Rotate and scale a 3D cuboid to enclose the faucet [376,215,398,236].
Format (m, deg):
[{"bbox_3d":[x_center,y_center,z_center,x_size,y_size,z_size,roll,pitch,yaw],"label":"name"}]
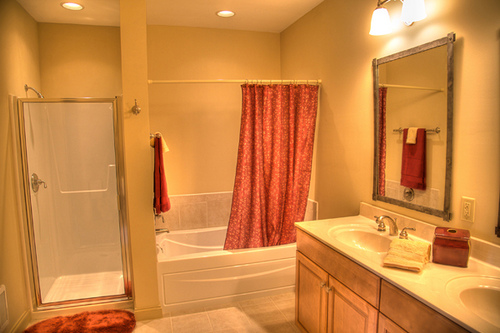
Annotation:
[{"bbox_3d":[1.202,0.501,3.363,0.194,0.175,0.201,-2,6,-6],"label":"faucet"}]

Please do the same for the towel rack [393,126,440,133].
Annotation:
[{"bbox_3d":[1.439,-0.311,3.291,0.079,0.077,0.440,-8,7,-32],"label":"towel rack"}]

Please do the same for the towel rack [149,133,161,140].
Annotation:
[{"bbox_3d":[-0.980,-0.312,3.843,0.150,0.052,0.050,3,-19,-4],"label":"towel rack"}]

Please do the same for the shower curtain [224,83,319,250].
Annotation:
[{"bbox_3d":[0.234,-0.004,4.059,1.078,1.754,0.135,-3,7,-16],"label":"shower curtain"}]

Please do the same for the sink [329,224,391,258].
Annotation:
[{"bbox_3d":[0.893,0.648,3.377,0.318,0.157,0.436,-15,7,-3],"label":"sink"}]

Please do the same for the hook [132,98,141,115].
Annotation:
[{"bbox_3d":[-1.137,-0.592,3.717,0.079,0.148,0.044,-2,7,-11],"label":"hook"}]

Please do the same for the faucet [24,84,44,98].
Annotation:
[{"bbox_3d":[-2.406,-0.830,4.138,0.114,0.162,0.372,16,4,-29],"label":"faucet"}]
